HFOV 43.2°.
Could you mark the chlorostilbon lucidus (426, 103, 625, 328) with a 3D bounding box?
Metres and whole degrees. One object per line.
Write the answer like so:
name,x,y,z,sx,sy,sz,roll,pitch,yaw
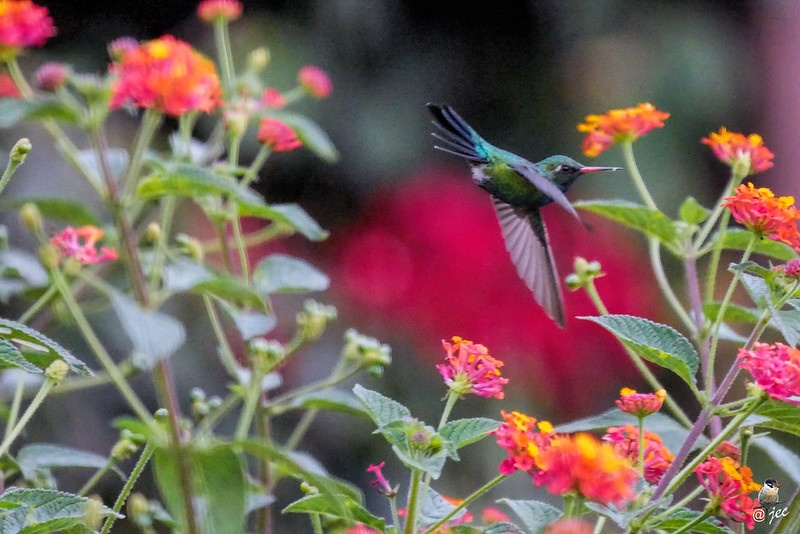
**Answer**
chlorostilbon lucidus,0.236,-0.134,2.117,0.413,0.310,0.529,20,8,6
